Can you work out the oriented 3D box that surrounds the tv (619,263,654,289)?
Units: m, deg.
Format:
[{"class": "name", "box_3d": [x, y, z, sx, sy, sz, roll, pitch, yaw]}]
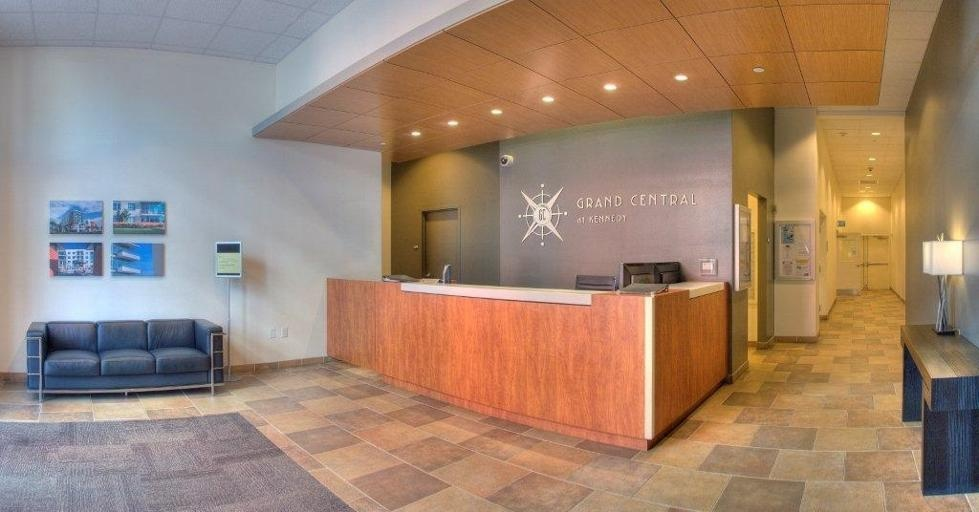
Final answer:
[{"class": "tv", "box_3d": [2.789, 0.325, 10.876, 0.945, 0.431, 0.323, -3, -2, -27]}]

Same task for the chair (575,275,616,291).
[{"class": "chair", "box_3d": [2.060, 0.516, 11.247, 0.834, 0.280, 0.295, -5, -1, 37]}]

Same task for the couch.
[{"class": "couch", "box_3d": [-7.028, 1.886, 11.354, 3.133, 1.032, 1.438, 4, 5, -38]}]

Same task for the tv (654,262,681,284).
[{"class": "tv", "box_3d": [3.431, 0.354, 11.386, 0.468, 0.343, 0.234, -1, 2, -38]}]
